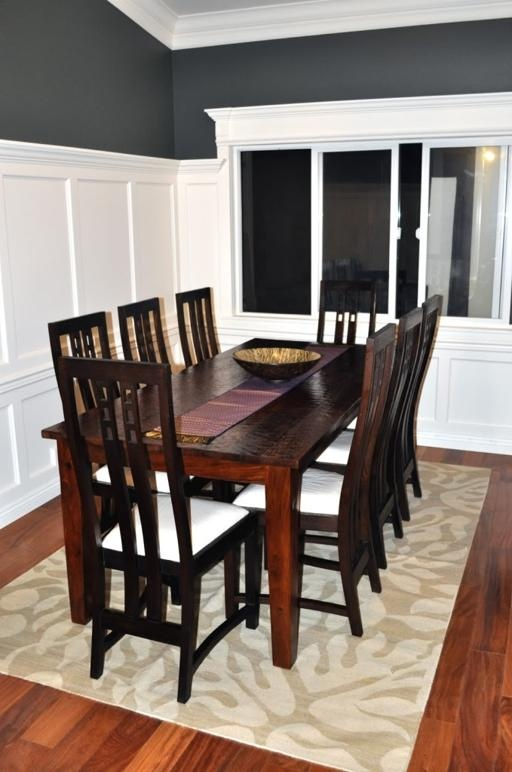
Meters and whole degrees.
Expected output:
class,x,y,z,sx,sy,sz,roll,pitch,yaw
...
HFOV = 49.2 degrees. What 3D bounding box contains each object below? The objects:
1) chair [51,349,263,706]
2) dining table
class,x,y,z,sx,sy,sz,roll,pitch,yaw
chair,-0.329,0.376,1.668,0.606,0.956,0.738,1,7,13
dining table,-0.062,0.345,2.375,0.776,0.750,1.494,6,14,14
